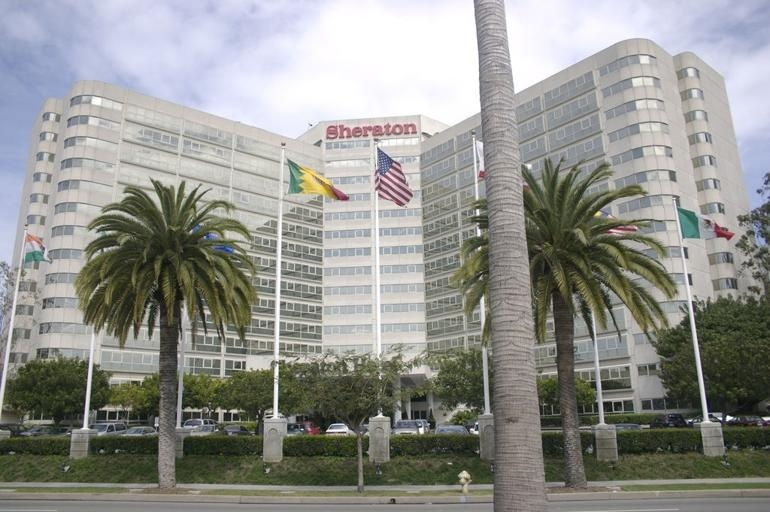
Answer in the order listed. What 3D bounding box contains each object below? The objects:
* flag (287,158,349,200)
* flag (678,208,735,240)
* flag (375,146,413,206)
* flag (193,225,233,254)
[{"bbox_3d":[-5.575,-5.972,51.734,5.325,2.890,1.320,5,3,-27],"label":"flag"},{"bbox_3d":[27.584,-2.487,56.640,2.430,2.468,6.215,-18,-23,39],"label":"flag"},{"bbox_3d":[0.619,-6.724,54.380,2.724,6.467,3.750,-4,-18,3],"label":"flag"},{"bbox_3d":[-12.507,-1.057,48.344,2.701,0.778,1.771,12,-35,4],"label":"flag"}]
